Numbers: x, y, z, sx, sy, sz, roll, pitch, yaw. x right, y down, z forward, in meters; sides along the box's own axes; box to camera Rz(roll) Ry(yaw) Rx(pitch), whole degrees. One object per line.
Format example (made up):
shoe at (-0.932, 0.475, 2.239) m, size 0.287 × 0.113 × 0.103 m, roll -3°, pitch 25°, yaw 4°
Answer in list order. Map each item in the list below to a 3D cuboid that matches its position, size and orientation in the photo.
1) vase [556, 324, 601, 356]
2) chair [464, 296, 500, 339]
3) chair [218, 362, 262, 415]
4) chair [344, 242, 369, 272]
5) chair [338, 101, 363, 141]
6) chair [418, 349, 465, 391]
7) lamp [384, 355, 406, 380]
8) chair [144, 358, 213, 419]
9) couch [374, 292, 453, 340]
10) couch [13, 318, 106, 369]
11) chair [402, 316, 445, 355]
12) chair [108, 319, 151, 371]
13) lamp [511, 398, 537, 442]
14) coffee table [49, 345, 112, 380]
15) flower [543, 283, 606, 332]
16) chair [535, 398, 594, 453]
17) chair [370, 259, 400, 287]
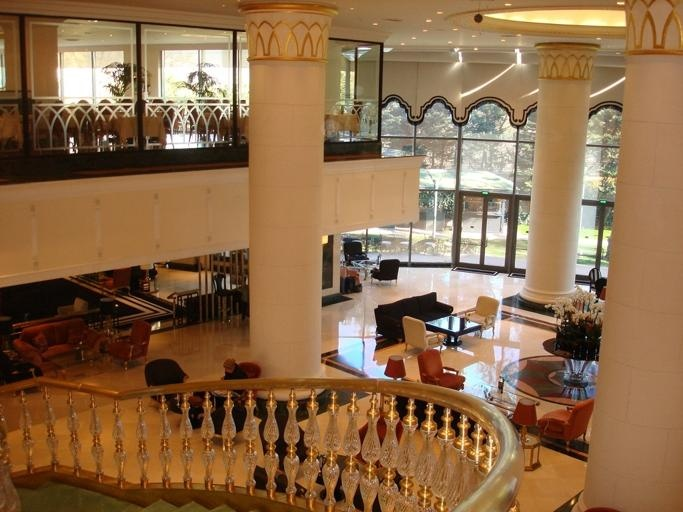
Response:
vase at (4.824, 1.726, 10.685) m, size 0.698 × 0.241 × 0.710 m, roll 4°, pitch 9°, yaw 27°
chair at (3.844, 1.657, 14.500) m, size 0.784 × 0.987 × 0.819 m, roll 12°, pitch 14°, yaw 40°
chair at (-1.893, 2.363, 10.078) m, size 0.617 × 0.644 × 0.662 m, roll -9°, pitch -25°, yaw 44°
chair at (0.452, -0.030, 19.307) m, size 0.890 × 1.234 × 0.974 m, roll -5°, pitch 15°, yaw -24°
chair at (0.295, -3.551, 13.717) m, size 0.695 × 0.808 × 0.706 m, roll 11°, pitch 2°, yaw -32°
chair at (2.045, 2.464, 10.689) m, size 0.869 × 0.992 × 0.853 m, roll -3°, pitch 7°, yaw 32°
lamp at (1.038, 2.202, 10.043) m, size 0.346 × 0.489 × 0.532 m, roll 1°, pitch 9°, yaw 4°
chair at (-3.136, 2.535, 9.887) m, size 0.899 × 1.001 × 1.966 m, roll -5°, pitch 11°, yaw -29°
couch at (1.764, 1.499, 14.437) m, size 2.453 × 1.078 × 1.026 m, roll -13°, pitch 17°, yaw -43°
couch at (-6.518, 2.110, 12.084) m, size 0.896 × 0.876 × 1.822 m, roll 22°, pitch 14°, yaw 25°
chair at (2.015, 1.908, 12.921) m, size 0.824 × 0.926 × 0.760 m, roll -9°, pitch 14°, yaw -33°
chair at (-4.828, 1.983, 11.960) m, size 0.788 × 0.929 × 0.800 m, roll 13°, pitch 10°, yaw 26°
lamp at (3.046, 2.739, 8.693) m, size 0.399 × 0.719 × 0.402 m, roll 4°, pitch 4°, yaw -6°
coffee table at (-5.896, 2.405, 11.957) m, size 1.040 × 0.351 × 1.432 m, roll -6°, pitch 12°, yaw -35°
flower at (4.937, 1.247, 11.220) m, size 0.701 × 0.388 × 0.747 m, roll -36°, pitch 6°, yaw 38°
chair at (3.911, 2.842, 9.143) m, size 0.646 × 0.869 × 0.796 m, roll -10°, pitch 10°, yaw -39°
chair at (1.500, 0.476, 18.204) m, size 0.815 × 0.968 × 0.853 m, roll -3°, pitch 21°, yaw -11°
